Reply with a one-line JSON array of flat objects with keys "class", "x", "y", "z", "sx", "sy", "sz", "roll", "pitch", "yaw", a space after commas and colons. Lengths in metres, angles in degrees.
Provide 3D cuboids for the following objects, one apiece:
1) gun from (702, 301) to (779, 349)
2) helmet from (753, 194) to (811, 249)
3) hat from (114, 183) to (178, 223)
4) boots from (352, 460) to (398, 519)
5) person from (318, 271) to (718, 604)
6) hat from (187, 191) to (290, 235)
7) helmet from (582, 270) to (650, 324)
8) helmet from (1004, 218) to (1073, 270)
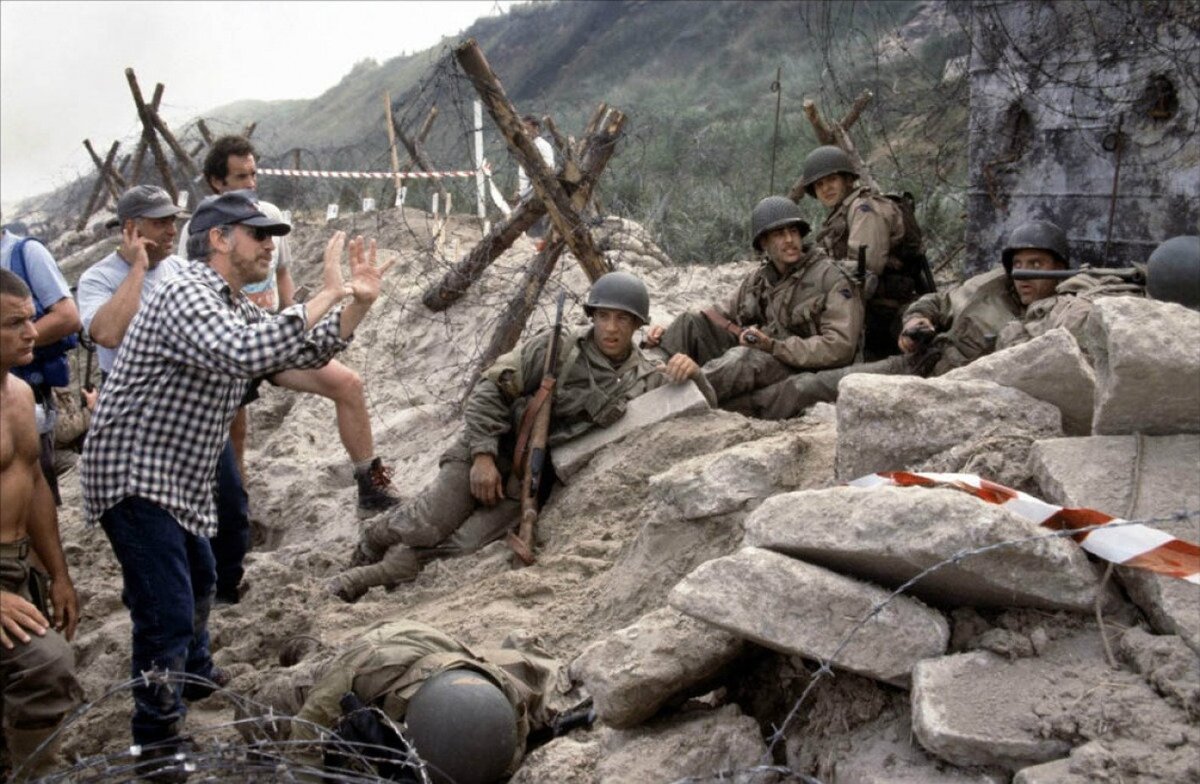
[{"class": "gun", "x": 1.008, "y": -0.570, "z": 8.521, "sx": 0.227, "sy": 0.199, "sz": 0.833, "roll": 3, "pitch": 19, "yaw": -32}, {"class": "helmet", "x": 1.271, "y": -1.289, "z": 8.555, "sx": 0.340, "sy": 0.293, "sz": 0.280, "roll": -9, "pitch": 6, "yaw": -10}, {"class": "hat", "x": -2.876, "y": -1.187, "z": 7.207, "sx": 0.326, "sy": 0.179, "sz": 0.246, "roll": -10, "pitch": 8, "yaw": -11}, {"class": "boots", "x": -1.495, "y": 0.673, "z": 7.702, "sx": 0.392, "sy": 0.387, "sz": 0.206, "roll": -3, "pitch": 2, "yaw": 26}, {"class": "person", "x": -0.572, "y": 0.470, "z": 7.483, "sx": 2.938, "sy": 1.225, "sz": 0.959, "roll": -33, "pitch": -24, "yaw": -17}, {"class": "hat", "x": -1.905, "y": -0.927, "z": 5.980, "sx": 0.404, "sy": 0.182, "sz": 0.273, "roll": 1, "pitch": 4, "yaw": -15}, {"class": "helmet", "x": 0.057, "y": -0.689, "z": 7.548, "sx": 0.385, "sy": 0.274, "sz": 0.396, "roll": -18, "pitch": 38, "yaw": -41}, {"class": "helmet", "x": 2.991, "y": -0.994, "z": 7.594, "sx": 0.414, "sy": 0.358, "sz": 0.343, "roll": 6, "pitch": 51, "yaw": 10}]
